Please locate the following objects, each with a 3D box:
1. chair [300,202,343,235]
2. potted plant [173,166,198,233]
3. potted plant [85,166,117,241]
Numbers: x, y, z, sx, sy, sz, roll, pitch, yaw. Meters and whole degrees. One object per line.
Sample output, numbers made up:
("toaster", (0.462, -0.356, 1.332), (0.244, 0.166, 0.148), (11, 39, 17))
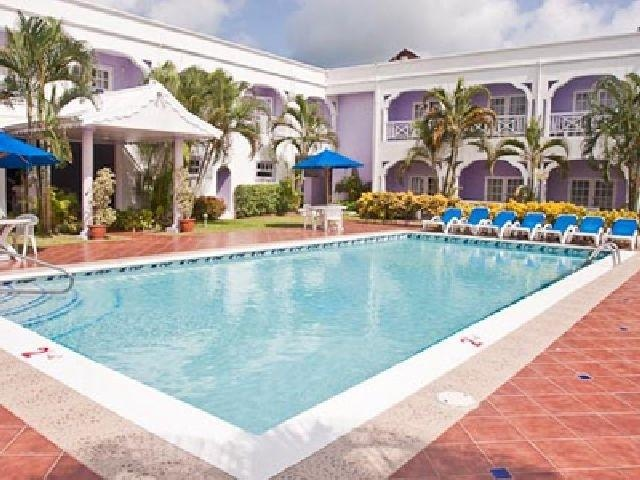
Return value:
("chair", (0.383, -0.872, 20.791), (1.258, 0.684, 1.275), (-8, 12, -37))
("potted plant", (-4.653, -1.373, 19.550), (0.637, 2.181, 0.415), (-3, 6, -21))
("potted plant", (-6.803, -1.192, 18.024), (0.794, 2.090, 3.106), (-3, 7, -19))
